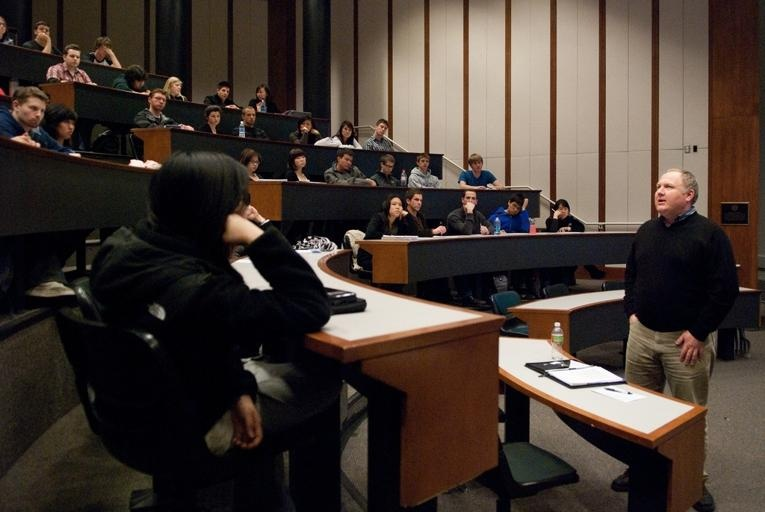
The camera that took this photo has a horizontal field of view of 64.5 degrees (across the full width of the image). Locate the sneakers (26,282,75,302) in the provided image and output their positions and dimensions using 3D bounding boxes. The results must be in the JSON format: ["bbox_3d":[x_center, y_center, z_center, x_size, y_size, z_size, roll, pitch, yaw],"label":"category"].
[{"bbox_3d":[-2.112,0.229,3.835,0.225,0.103,0.159,0,3,-4],"label":"sneakers"}]
